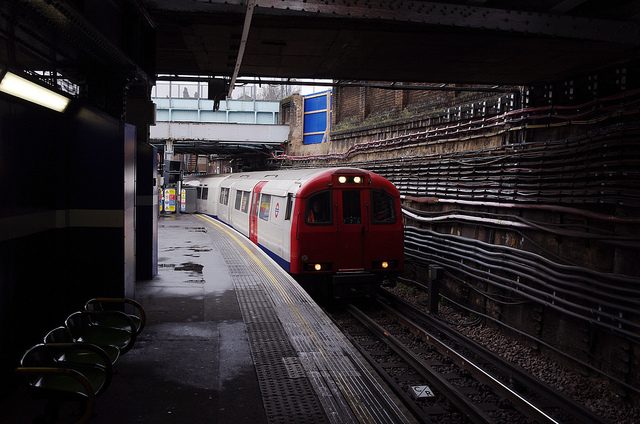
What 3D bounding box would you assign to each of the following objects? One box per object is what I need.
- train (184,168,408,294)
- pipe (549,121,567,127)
[{"bbox_3d":[-1.887,0.021,17.568,3.273,3.285,14.101,-1,3,-25],"label":"train"},{"bbox_3d":[5.809,-2.147,10.248,0.042,0.074,0.521,-1,7,-15],"label":"pipe"}]
